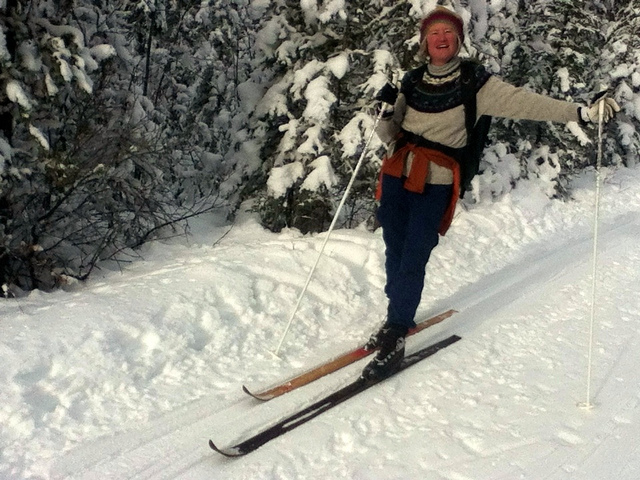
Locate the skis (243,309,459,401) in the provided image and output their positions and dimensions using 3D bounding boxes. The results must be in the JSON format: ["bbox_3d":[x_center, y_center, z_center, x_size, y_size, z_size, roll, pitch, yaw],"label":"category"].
[{"bbox_3d":[0.264,1.140,6.469,1.633,0.192,0.119,-24,30,-24],"label":"skis"}]

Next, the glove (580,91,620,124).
[{"bbox_3d":[2.511,-1.177,5.929,0.283,0.262,0.403,13,18,38],"label":"glove"}]

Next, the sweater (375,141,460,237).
[{"bbox_3d":[0.953,-0.512,6.472,0.786,0.920,0.382,18,7,26],"label":"sweater"}]
